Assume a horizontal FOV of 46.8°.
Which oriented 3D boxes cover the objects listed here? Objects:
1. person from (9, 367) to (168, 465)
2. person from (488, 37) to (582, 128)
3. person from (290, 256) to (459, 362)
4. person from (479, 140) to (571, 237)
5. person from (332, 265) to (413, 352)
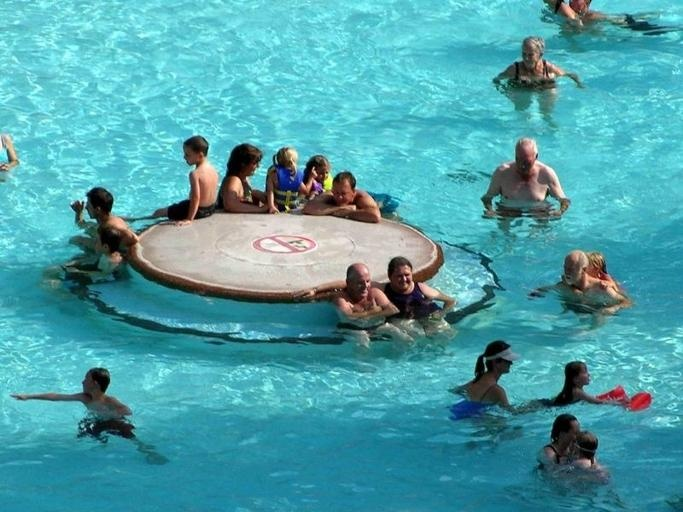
[{"bbox_3d":[-2.619,1.698,8.494,1.845,0.722,0.645,7,-16,-13],"label":"person"},{"bbox_3d":[3.827,-3.564,15.734,1.434,1.641,1.396,2,18,8],"label":"person"},{"bbox_3d":[0.483,0.547,9.838,1.783,0.677,1.228,20,33,23],"label":"person"},{"bbox_3d":[2.922,-1.187,12.463,1.323,1.382,0.564,1,20,6],"label":"person"},{"bbox_3d":[0.341,0.574,9.636,0.644,0.981,0.698,-13,22,-31],"label":"person"}]
